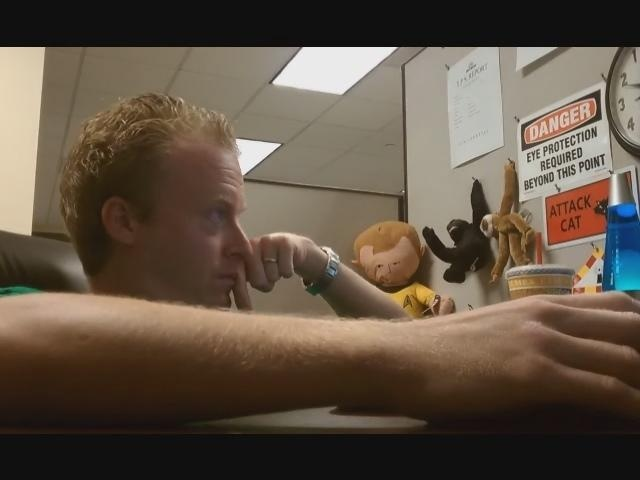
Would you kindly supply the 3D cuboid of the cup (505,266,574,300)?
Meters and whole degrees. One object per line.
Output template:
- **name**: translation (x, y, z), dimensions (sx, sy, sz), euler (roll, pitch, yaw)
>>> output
- **cup**: translation (0.356, 0.078, 0.830), dimensions (0.088, 0.056, 0.090), euler (1, -11, 0)

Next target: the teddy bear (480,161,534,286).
- **teddy bear**: translation (0.400, -0.031, 1.074), dimensions (0.084, 0.218, 0.189), euler (0, -41, 11)

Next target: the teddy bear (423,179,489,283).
- **teddy bear**: translation (0.348, -0.029, 1.277), dimensions (0.069, 0.197, 0.191), euler (18, -53, -21)
